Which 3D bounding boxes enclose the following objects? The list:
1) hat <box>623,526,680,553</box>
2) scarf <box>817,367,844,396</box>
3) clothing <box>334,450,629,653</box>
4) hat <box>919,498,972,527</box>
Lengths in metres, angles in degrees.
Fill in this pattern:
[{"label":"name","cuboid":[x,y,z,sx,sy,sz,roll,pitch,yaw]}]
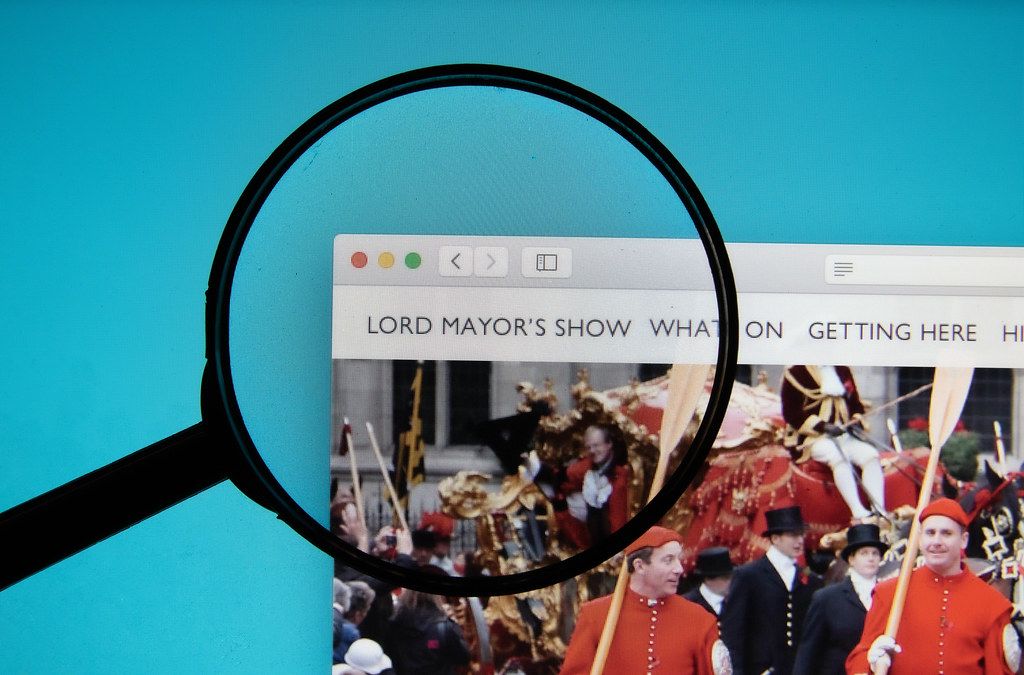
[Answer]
[{"label":"hat","cuboid":[0.290,0.416,4.280,0.084,0.035,0.067,-30,-2,-12]},{"label":"scarf","cuboid":[0.693,0.099,4.504,0.039,0.070,0.016,-3,2,1]},{"label":"clothing","cuboid":[-0.015,0.414,4.209,0.446,0.470,0.117,2,-30,6]},{"label":"hat","cuboid":[0.947,0.376,4.523,0.060,0.032,0.083,5,-14,19]}]
